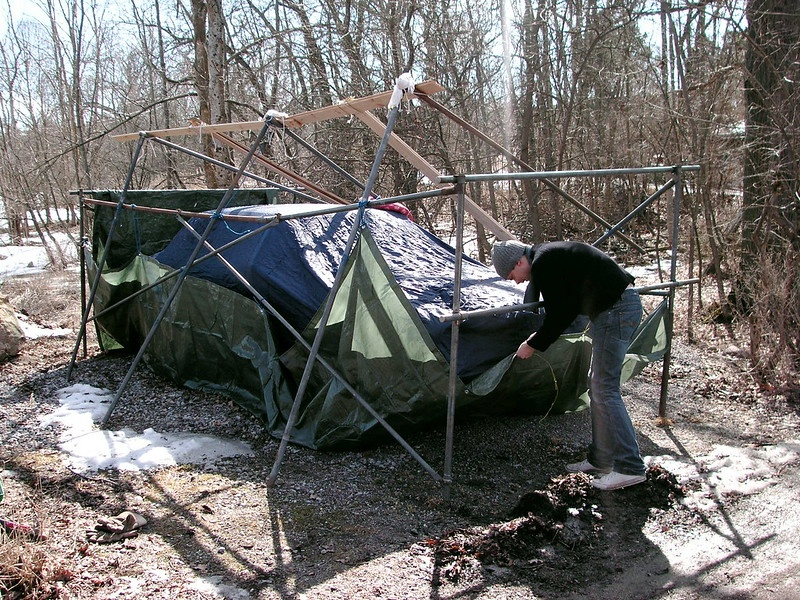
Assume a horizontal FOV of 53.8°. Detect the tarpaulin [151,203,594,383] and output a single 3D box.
[{"bbox_3d":[-0.386,-0.303,8.829,3.359,0.995,2.303,17,13,31],"label":"tarpaulin"}]
